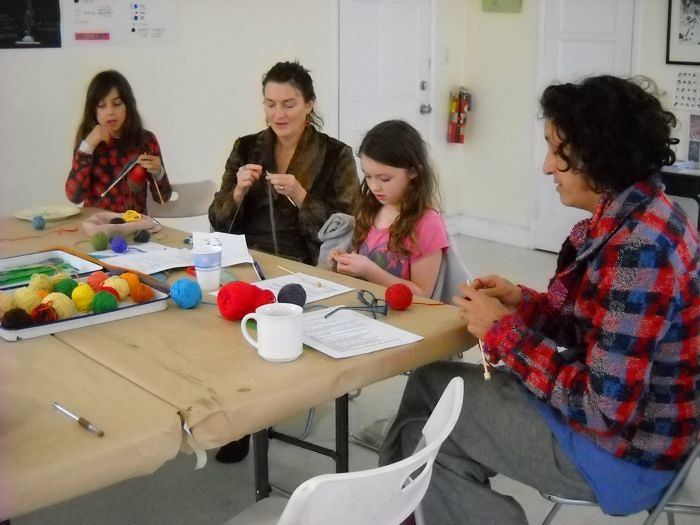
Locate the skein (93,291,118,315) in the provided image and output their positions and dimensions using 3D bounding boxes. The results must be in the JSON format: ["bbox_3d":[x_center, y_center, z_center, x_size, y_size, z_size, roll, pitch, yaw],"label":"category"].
[{"bbox_3d":[-0.609,0.102,1.333,0.043,0.062,0.047,12,-10,-35],"label":"skein"}]

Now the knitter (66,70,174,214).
[{"bbox_3d":[-1.217,-0.465,2.800,0.478,1.040,0.359,-9,35,-30],"label":"knitter"}]

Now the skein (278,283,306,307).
[{"bbox_3d":[-0.147,0.084,1.378,0.034,0.065,0.064,16,17,41],"label":"skein"}]

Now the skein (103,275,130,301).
[{"bbox_3d":[-0.600,0.063,1.387,0.051,0.058,0.066,-35,-7,7],"label":"skein"}]

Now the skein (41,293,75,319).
[{"bbox_3d":[-0.704,0.103,1.297,0.057,0.063,0.070,-21,-15,-16],"label":"skein"}]

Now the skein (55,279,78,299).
[{"bbox_3d":[-0.736,0.063,1.380,0.049,0.064,0.049,-13,10,-31],"label":"skein"}]

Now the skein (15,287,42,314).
[{"bbox_3d":[-0.791,0.089,1.302,0.055,0.020,0.061,3,37,-12],"label":"skein"}]

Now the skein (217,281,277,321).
[{"bbox_3d":[-0.264,0.085,1.337,0.116,0.059,0.091,-4,14,-18],"label":"skein"}]

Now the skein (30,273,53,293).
[{"bbox_3d":[-0.809,0.054,1.395,0.048,0.024,0.059,-15,33,-42],"label":"skein"}]

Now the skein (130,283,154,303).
[{"bbox_3d":[-0.546,0.080,1.394,0.043,0.038,0.053,1,9,0],"label":"skein"}]

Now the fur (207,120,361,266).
[{"bbox_3d":[-0.295,-0.334,2.472,0.615,0.639,0.366,10,11,9],"label":"fur"}]

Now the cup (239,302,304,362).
[{"bbox_3d":[-0.178,0.154,1.159,0.134,0.110,0.096,2,12,-2],"label":"cup"}]

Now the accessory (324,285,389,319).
[{"bbox_3d":[0.033,0.119,1.409,0.093,0.030,0.094,-18,23,-27],"label":"accessory"}]

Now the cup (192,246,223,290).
[{"bbox_3d":[-0.423,0.020,1.586,0.089,0.114,0.094,-1,11,0],"label":"cup"}]
